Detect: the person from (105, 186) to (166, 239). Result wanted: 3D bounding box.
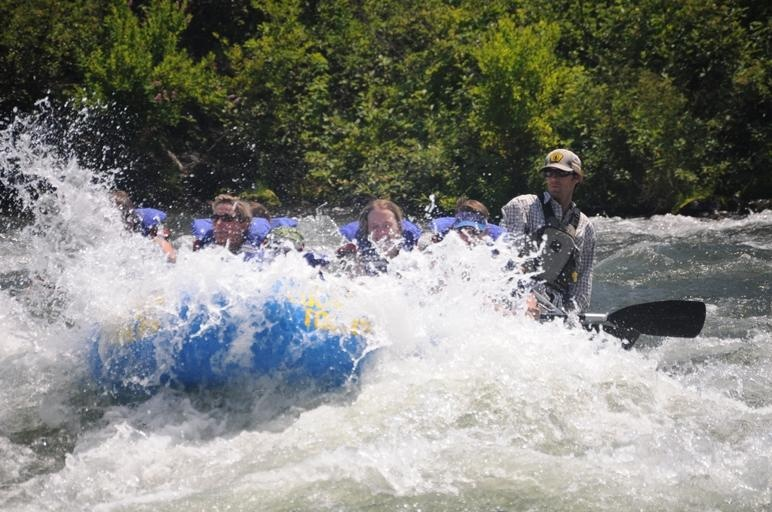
[{"bbox_3d":[-4.206,-0.620,17.464,0.814,0.296,0.877,9,-15,-30],"label":"person"}]

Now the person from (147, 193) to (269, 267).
[{"bbox_3d":[-2.550,-0.503,16.486,1.188,1.021,0.890,-5,11,-3],"label":"person"}]

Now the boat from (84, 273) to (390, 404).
[{"bbox_3d":[-2.356,1.118,15.443,3.340,1.146,1.680,-1,-1,0],"label":"boat"}]

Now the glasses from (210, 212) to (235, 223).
[{"bbox_3d":[-2.582,-0.639,16.320,0.367,0.157,0.097,-6,11,-8],"label":"glasses"}]

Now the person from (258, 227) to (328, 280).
[{"bbox_3d":[-1.452,-0.085,16.283,1.021,0.638,1.840,-5,10,-5],"label":"person"}]

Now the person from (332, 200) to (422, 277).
[{"bbox_3d":[-0.093,-0.394,16.348,1.182,0.762,1.498,-7,0,-9],"label":"person"}]
